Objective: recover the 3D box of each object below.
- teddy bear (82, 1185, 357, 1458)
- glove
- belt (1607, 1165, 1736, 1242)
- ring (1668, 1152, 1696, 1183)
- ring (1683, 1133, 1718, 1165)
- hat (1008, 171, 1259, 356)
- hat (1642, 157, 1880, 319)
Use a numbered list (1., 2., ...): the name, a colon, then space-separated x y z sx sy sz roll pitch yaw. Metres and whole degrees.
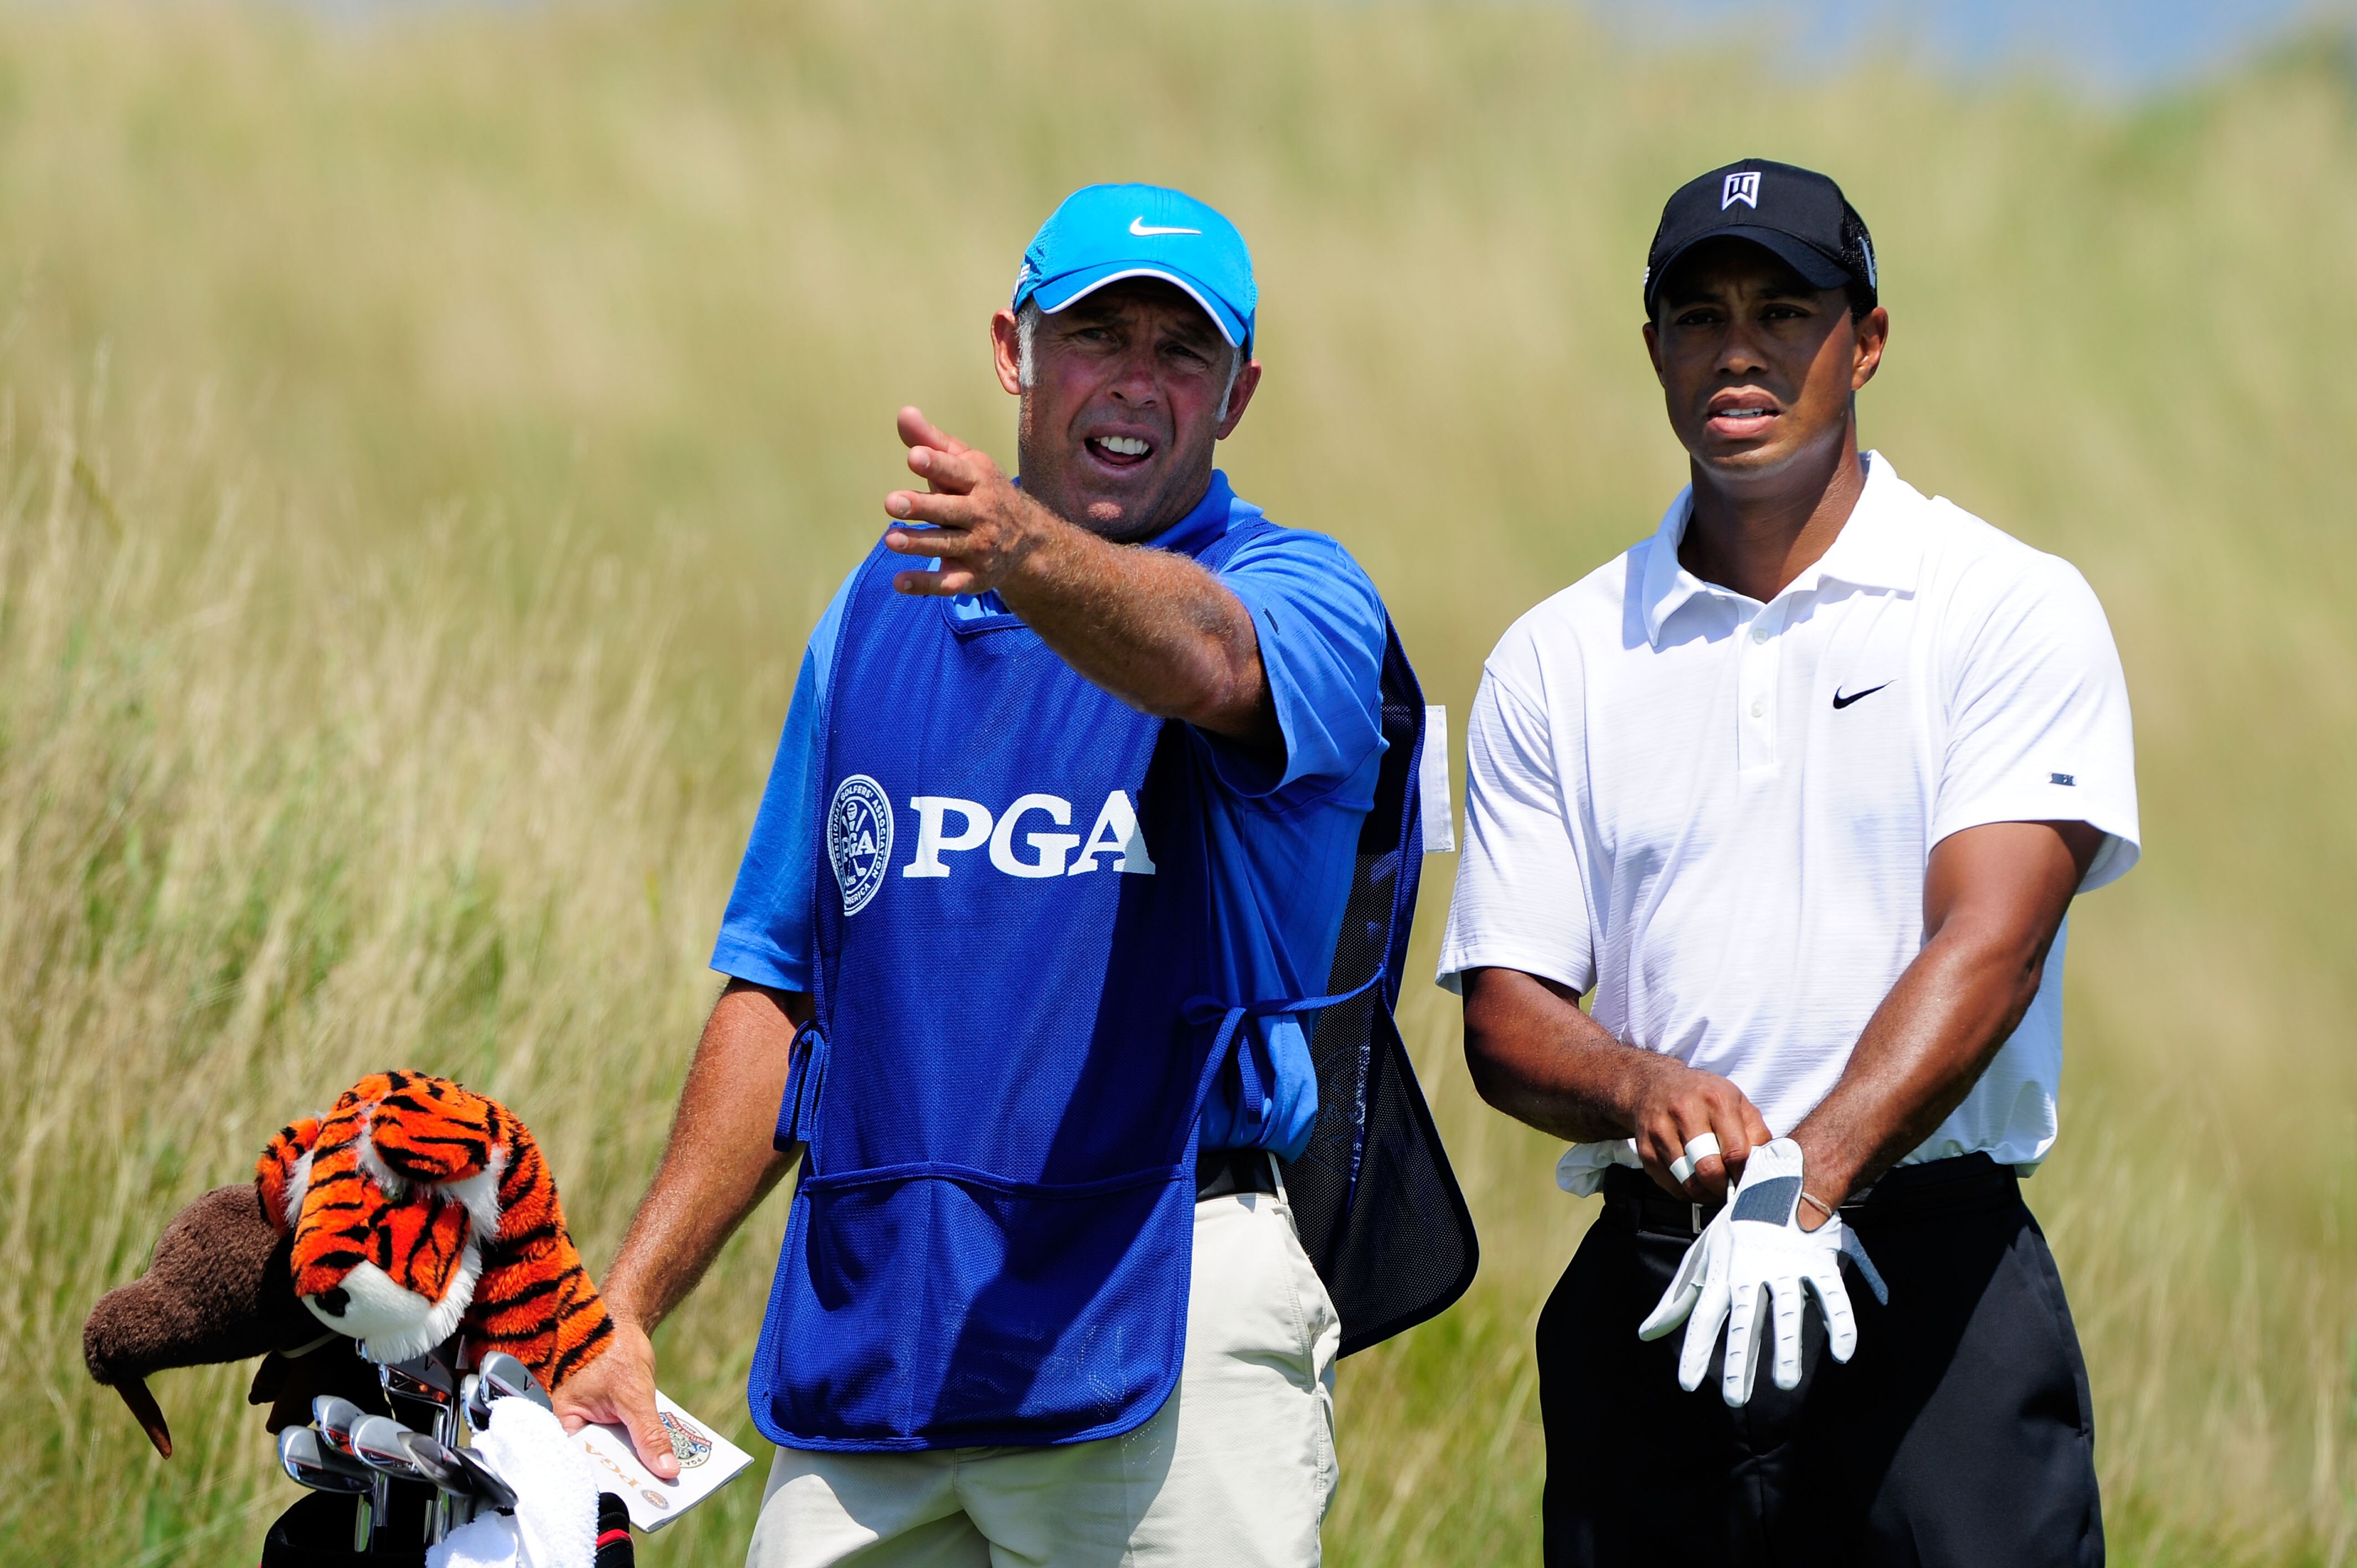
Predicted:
1. teddy bear: -1.934 1.121 8.488 0.583 0.429 0.421 -26 37 -11
2. glove: 1.227 1.035 8.602 0.491 0.543 0.392 6 -13 10
3. belt: 1.013 0.898 8.798 0.164 0.076 0.136 5 -10 36
4. ring: 1.052 0.795 8.569 0.044 0.045 0.050 -7 4 -1
5. ring: 1.090 0.755 8.546 0.047 0.041 0.052 -13 2 14
6. hat: -0.083 -1.131 8.891 0.456 0.397 0.700 9 -4 -7
7. hat: 1.270 -1.194 9.042 0.455 0.405 0.691 2 -12 16
